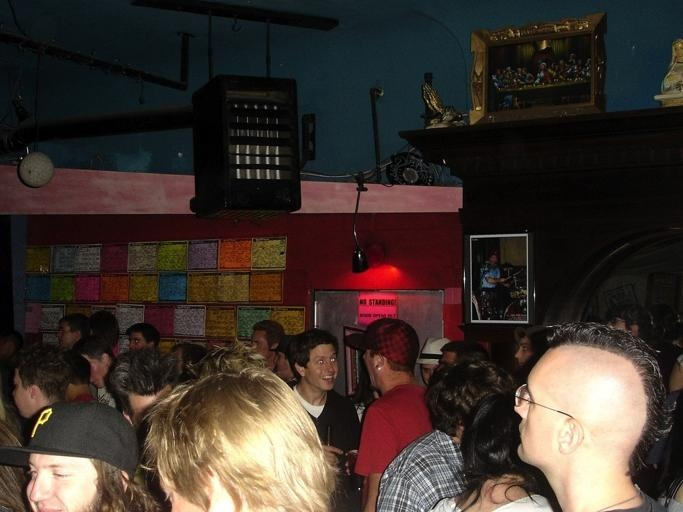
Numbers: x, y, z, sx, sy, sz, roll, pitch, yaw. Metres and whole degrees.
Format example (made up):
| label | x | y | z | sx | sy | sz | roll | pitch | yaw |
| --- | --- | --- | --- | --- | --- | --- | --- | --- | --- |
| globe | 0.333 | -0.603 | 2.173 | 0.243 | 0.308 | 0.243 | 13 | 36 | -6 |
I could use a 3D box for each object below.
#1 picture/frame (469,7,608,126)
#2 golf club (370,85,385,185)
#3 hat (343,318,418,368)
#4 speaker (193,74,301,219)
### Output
| label | x | y | z | sx | sy | sz | roll | pitch | yaw |
| --- | --- | --- | --- | --- | --- | --- | --- | --- | --- |
| picture/frame | 1.309 | -1.255 | 4.446 | 0.889 | 0.716 | 0.275 | -2 | -4 | 23 |
| golf club | 0.347 | -1.173 | 6.342 | 0.091 | 0.912 | 0.201 | 3 | 18 | 28 |
| hat | 0.244 | 0.417 | 3.584 | 0.418 | 0.212 | 0.290 | 12 | 13 | 10 |
| speaker | -0.656 | -0.715 | 4.287 | 0.689 | 0.782 | 0.661 | 2 | 7 | 34 |
